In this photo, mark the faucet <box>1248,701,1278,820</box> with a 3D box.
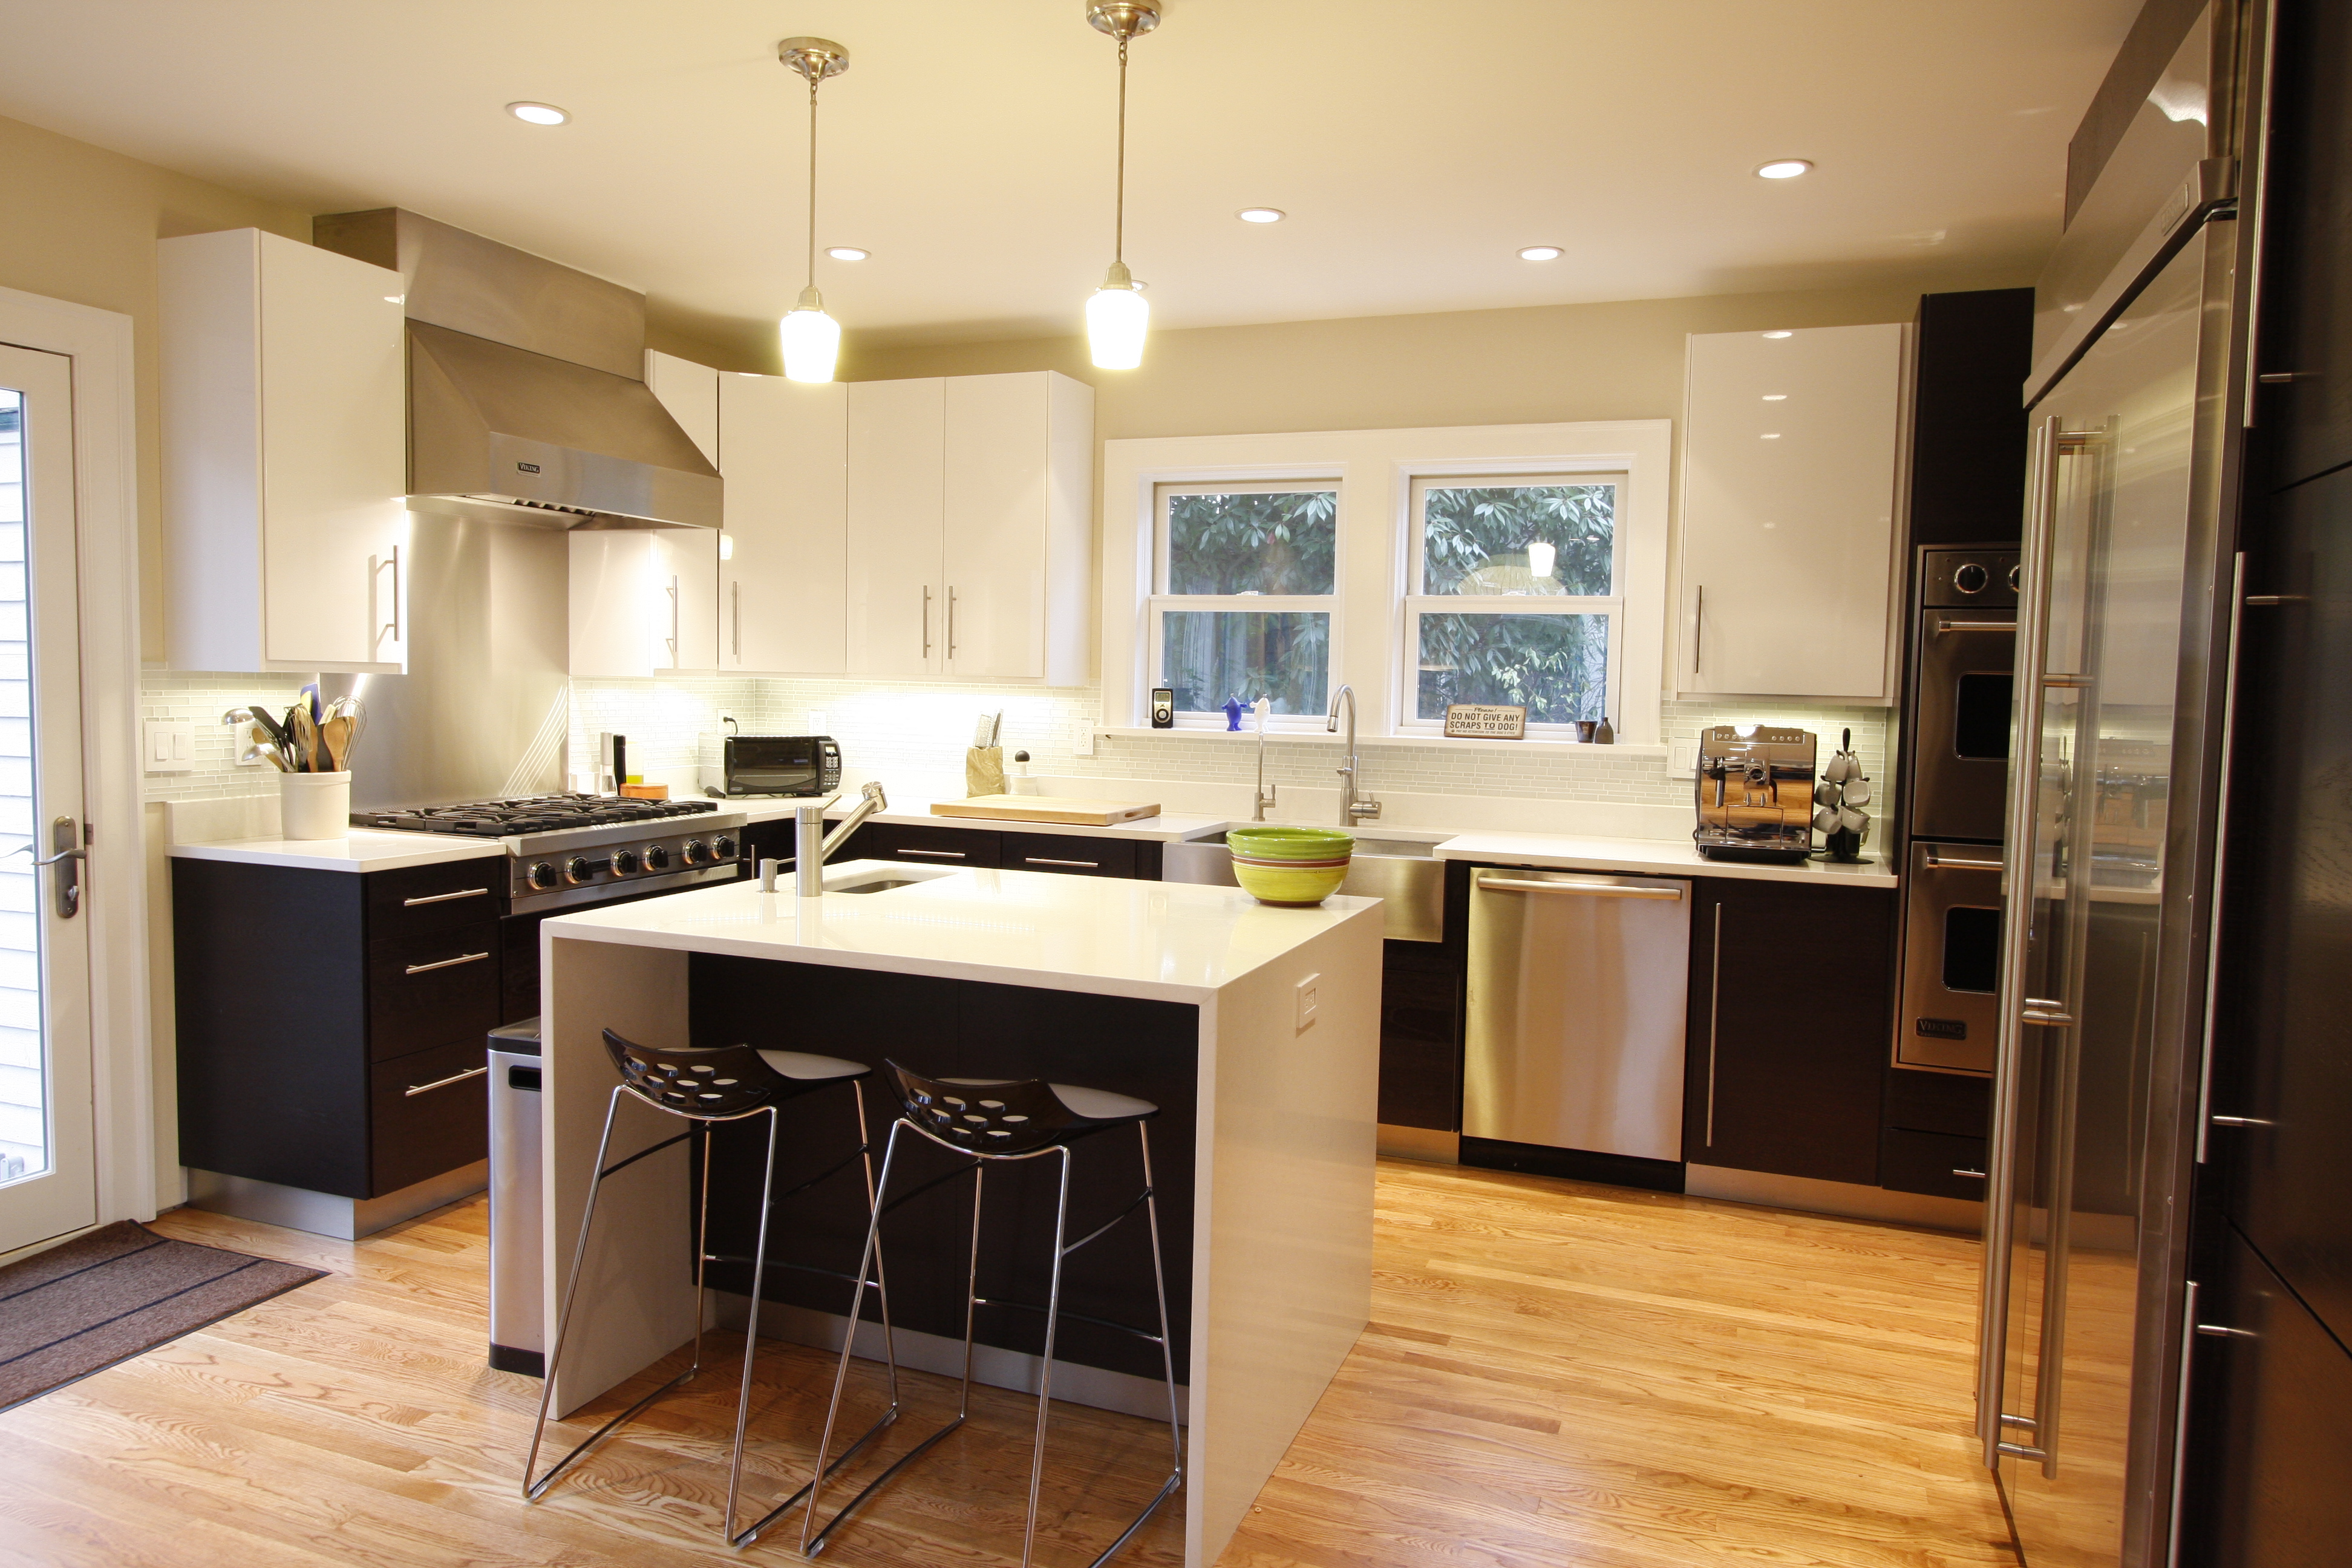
[{"bbox_3d":[0.344,-0.112,6.711,0.095,0.472,0.261,-1,5,2],"label":"faucet"}]

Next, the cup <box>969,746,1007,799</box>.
[{"bbox_3d":[-0.763,-0.048,6.922,0.185,0.240,0.136,4,10,15],"label":"cup"}]

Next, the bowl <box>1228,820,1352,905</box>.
[{"bbox_3d":[0.301,0.203,4.533,0.236,0.130,0.230,1,3,0],"label":"bowl"}]

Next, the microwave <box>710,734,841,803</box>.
[{"bbox_3d":[-1.604,-0.076,7.046,0.474,0.250,0.241,-2,5,-14],"label":"microwave"}]

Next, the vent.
[{"bbox_3d":[-2.198,-1.375,5.963,0.672,0.817,1.268,7,7,17],"label":"vent"}]

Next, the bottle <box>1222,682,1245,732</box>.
[{"bbox_3d":[0.238,-0.301,6.798,0.090,0.177,0.167,-1,5,0],"label":"bottle"}]

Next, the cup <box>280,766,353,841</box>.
[{"bbox_3d":[-2.662,0.069,5.331,0.210,0.217,0.214,2,0,0],"label":"cup"}]

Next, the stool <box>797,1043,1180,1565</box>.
[{"bbox_3d":[-0.446,1.162,4.060,0.914,1.101,0.805,0,5,8],"label":"stool"}]

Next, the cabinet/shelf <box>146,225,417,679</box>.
[{"bbox_3d":[-2.703,-1.001,5.287,0.698,1.281,0.305,-3,6,-29],"label":"cabinet/shelf"}]

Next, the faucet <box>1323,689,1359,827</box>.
[{"bbox_3d":[0.628,-0.097,6.431,0.113,0.515,0.322,0,5,6],"label":"faucet"}]

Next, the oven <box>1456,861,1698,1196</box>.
[{"bbox_3d":[1.453,0.756,6.045,1.240,1.021,1.208,0,6,3],"label":"oven"}]

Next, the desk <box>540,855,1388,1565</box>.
[{"bbox_3d":[-0.386,0.674,4.408,1.898,1.349,1.562,3,7,23],"label":"desk"}]

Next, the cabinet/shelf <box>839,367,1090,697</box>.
[{"bbox_3d":[-0.829,-1.000,6.706,1.221,1.467,0.575,2,4,21],"label":"cabinet/shelf"}]
